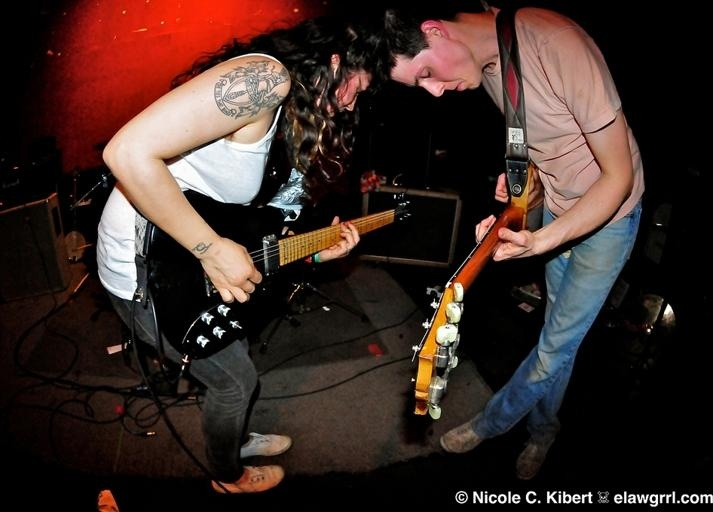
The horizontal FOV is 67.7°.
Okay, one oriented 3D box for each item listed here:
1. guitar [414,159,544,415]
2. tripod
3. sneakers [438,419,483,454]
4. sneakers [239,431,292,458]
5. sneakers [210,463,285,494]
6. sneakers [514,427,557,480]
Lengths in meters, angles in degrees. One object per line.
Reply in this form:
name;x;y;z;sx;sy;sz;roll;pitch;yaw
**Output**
guitar;0.928;0.251;3.995;0.348;0.522;2.584;2;48;41
tripod;-0.301;0.381;5.033;0.690;0.612;0.923;-9;57;-10
sneakers;0.716;1.219;3.566;0.276;0.073;0.207;-25;47;10
sneakers;-0.609;1.254;3.568;0.349;0.138;0.132;-2;49;-26
sneakers;-0.690;1.412;3.395;0.482;0.192;0.188;-3;69;-13
sneakers;1.198;1.324;3.515;0.108;0.127;0.324;34;97;21
